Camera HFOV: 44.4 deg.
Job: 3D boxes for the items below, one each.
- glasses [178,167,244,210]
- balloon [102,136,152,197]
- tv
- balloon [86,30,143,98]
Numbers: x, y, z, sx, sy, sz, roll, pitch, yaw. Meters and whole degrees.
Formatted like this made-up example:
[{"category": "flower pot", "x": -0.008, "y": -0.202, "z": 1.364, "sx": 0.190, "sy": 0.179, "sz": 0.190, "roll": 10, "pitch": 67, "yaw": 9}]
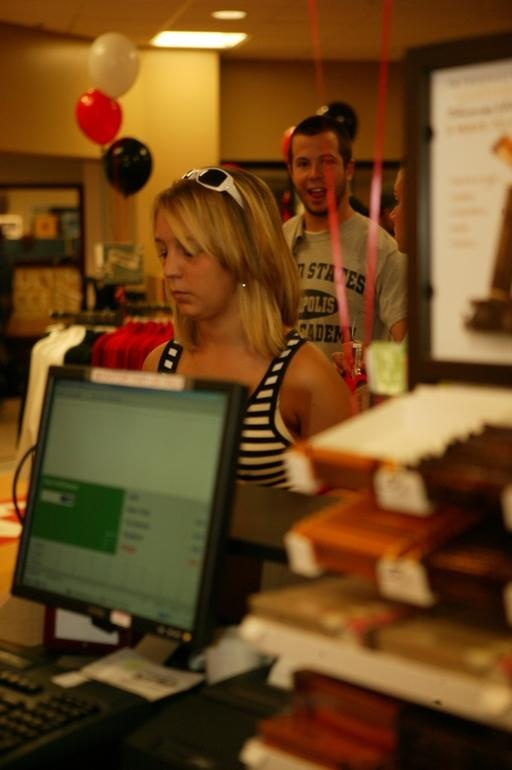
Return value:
[{"category": "glasses", "x": -0.092, "y": -0.468, "z": 1.442, "sx": 0.104, "sy": 0.036, "sz": 0.118, "roll": 17, "pitch": -25, "yaw": 31}, {"category": "balloon", "x": -1.136, "y": -1.977, "z": 5.865, "sx": 0.519, "sy": 0.612, "sz": 0.506, "roll": 2, "pitch": -21, "yaw": -8}, {"category": "tv", "x": -0.157, "y": 0.160, "z": 0.779, "sx": 0.367, "sy": 0.319, "sz": 0.072, "roll": 14, "pitch": 1, "yaw": 42}, {"category": "balloon", "x": -1.014, "y": -2.396, "z": 4.772, "sx": 0.445, "sy": 0.512, "sz": 0.438, "roll": 3, "pitch": 9, "yaw": 8}]
